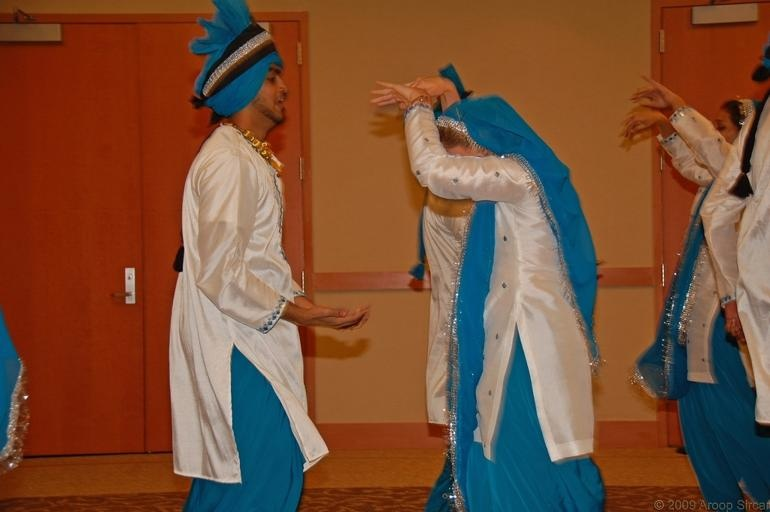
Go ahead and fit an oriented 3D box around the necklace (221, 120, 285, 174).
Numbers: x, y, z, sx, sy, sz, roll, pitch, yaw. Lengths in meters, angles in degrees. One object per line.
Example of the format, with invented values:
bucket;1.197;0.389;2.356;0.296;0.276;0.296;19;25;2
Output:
necklace;-0.750;-0.617;6.026;0.358;0.134;0.229;44;13;22

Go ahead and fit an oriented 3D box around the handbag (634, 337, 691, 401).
handbag;1.843;0.752;6.920;0.472;0.342;0.248;-6;-1;-27
